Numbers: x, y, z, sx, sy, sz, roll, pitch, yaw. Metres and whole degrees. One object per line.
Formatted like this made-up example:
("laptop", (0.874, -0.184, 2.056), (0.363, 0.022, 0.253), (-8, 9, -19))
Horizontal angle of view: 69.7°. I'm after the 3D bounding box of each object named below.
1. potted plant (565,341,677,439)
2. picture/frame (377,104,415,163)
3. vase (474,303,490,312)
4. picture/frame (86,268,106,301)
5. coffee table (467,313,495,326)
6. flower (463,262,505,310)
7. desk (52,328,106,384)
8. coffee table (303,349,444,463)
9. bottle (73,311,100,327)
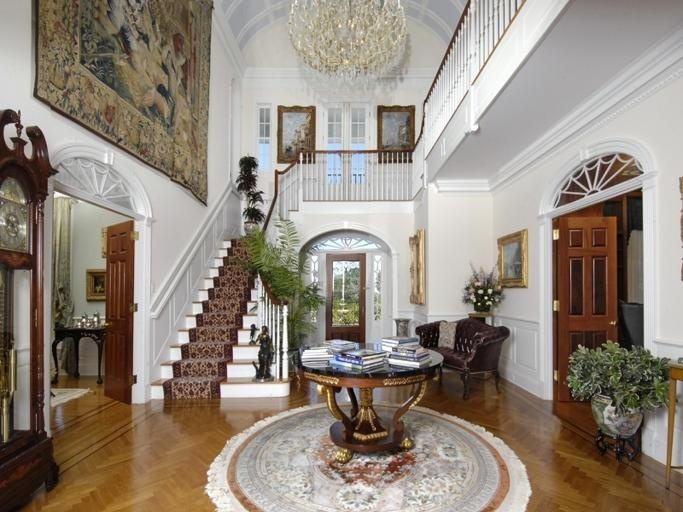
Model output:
("potted plant", (2.936, 1.389, 5.505), (0.894, 1.126, 0.957), (1, -7, -1))
("picture/frame", (1.296, -2.886, 11.501), (0.895, 1.410, 0.660), (1, 6, 7))
("vase", (2.452, 0.888, 8.591), (0.158, 0.119, 0.163), (0, -3, -8))
("picture/frame", (-4.359, 0.525, 8.846), (0.468, 0.652, 0.047), (0, -1, 2))
("coffee table", (2.488, 1.082, 8.660), (0.279, 0.347, 0.307), (-1, 1, -9))
("flower", (2.458, 0.552, 8.688), (0.662, 0.971, 0.633), (6, -9, -42))
("desk", (-4.454, 1.713, 8.462), (0.763, 0.962, 0.824), (1, -7, -22))
("coffee table", (0.226, 1.499, 5.598), (1.112, 0.836, 1.200), (0, 0, -20))
("bottle", (-4.325, 1.137, 8.573), (0.334, 0.249, 0.366), (1, 0, 0))
